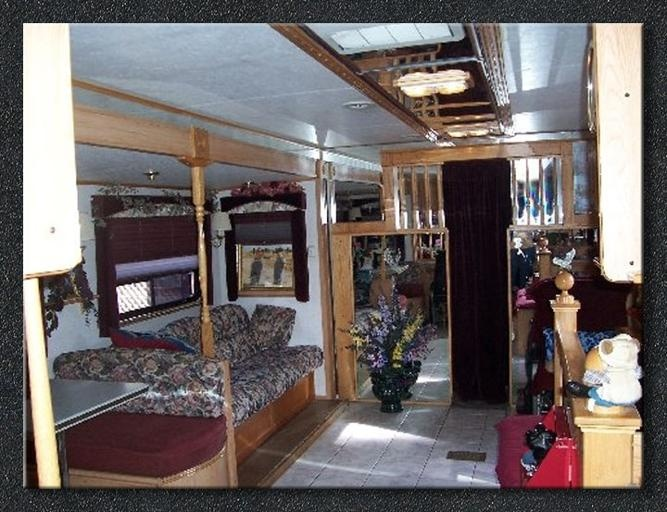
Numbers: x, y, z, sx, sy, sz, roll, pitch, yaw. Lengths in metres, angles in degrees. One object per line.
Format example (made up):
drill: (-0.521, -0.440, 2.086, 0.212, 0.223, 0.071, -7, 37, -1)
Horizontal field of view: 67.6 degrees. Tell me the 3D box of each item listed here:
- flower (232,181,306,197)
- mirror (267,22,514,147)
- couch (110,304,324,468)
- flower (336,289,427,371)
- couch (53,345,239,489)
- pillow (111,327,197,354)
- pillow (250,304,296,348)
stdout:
flower: (-1.002, -0.984, 7.434, 1.130, 0.230, 0.095, -2, 3, 19)
mirror: (0.476, -1.026, 2.931, 1.013, 0.226, 1.705, -1, 2, 21)
couch: (-1.273, 1.047, 6.362, 1.453, 1.298, 2.861, -1, 2, 14)
flower: (0.784, 1.063, 6.963, 1.157, 1.111, 0.667, -3, 3, 2)
couch: (-1.706, 1.437, 4.605, 1.635, 1.293, 1.404, 1, -6, 7)
pillow: (-1.803, 0.852, 4.987, 0.453, 0.121, 0.430, 6, -3, 12)
pillow: (-0.893, 1.030, 7.304, 0.661, 0.589, 0.150, 5, -2, 15)
